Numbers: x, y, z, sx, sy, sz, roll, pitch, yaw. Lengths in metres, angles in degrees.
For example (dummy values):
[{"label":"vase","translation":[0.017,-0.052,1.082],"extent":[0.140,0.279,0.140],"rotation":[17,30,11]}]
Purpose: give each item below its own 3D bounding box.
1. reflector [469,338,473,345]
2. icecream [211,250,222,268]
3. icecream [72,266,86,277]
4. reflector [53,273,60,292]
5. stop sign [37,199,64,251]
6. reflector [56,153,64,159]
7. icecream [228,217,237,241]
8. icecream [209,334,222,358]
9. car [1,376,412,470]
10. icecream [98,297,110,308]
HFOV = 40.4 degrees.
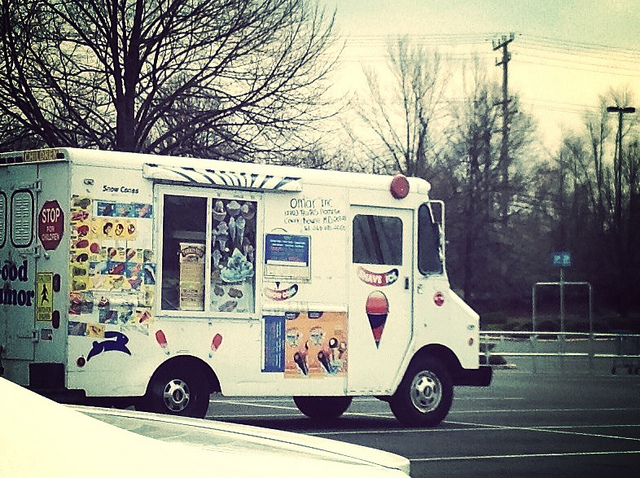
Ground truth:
[{"label":"reflector","translation":[2.322,1.543,13.428],"extent":[0.080,0.099,0.021],"rotation":[0,-6,-10]},{"label":"icecream","translation":[-1.405,0.236,11.882],"extent":[0.126,0.209,0.056],"rotation":[-1,3,-21]},{"label":"icecream","translation":[-3.053,0.391,11.037],"extent":[0.114,0.124,0.072],"rotation":[3,8,-6]},{"label":"reflector","translation":[-3.346,0.534,11.069],"extent":[0.092,0.206,0.049],"rotation":[2,-4,29]},{"label":"stop sign","translation":[-3.445,-0.185,11.185],"extent":[0.551,0.983,0.029],"rotation":[0,0,43]},{"label":"reflector","translation":[-3.318,-1.073,11.123],"extent":[0.122,0.078,0.013],"rotation":[-1,-3,24]},{"label":"icecream","translation":[-1.214,-0.171,11.942],"extent":[0.078,0.296,0.079],"rotation":[0,7,-7]},{"label":"icecream","translation":[-1.397,1.386,11.709],"extent":[0.097,0.350,0.083],"rotation":[21,-12,-12]},{"label":"car","translation":[-1.048,1.294,6.296],"extent":[2.415,0.681,1.272],"rotation":[2,-4,-28]},{"label":"icecream","translation":[-2.741,0.776,11.161],"extent":[0.149,0.198,0.099],"rotation":[8,0,0]}]
